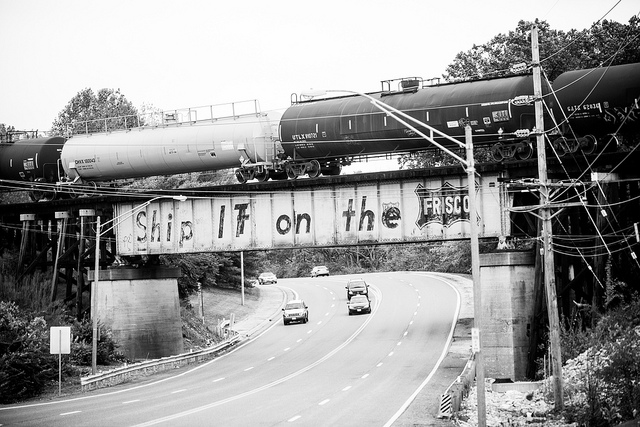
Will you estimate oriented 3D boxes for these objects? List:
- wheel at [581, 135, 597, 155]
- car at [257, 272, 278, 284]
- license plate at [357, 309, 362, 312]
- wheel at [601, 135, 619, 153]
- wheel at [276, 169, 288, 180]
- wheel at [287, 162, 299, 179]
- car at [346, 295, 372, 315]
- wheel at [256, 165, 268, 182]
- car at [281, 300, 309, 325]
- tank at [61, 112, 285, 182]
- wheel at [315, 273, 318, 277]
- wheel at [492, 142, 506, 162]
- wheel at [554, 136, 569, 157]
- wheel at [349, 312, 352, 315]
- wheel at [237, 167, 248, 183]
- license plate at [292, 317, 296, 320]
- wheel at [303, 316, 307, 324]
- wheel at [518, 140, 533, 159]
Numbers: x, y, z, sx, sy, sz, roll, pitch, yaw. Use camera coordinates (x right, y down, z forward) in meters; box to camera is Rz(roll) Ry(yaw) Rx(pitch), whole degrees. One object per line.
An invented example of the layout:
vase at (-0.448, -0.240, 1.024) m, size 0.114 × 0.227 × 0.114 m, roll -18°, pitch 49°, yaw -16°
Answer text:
wheel at (14.251, -3.635, 38.321) m, size 0.822 × 1.085 × 0.325 m, roll -3°, pitch -5°, yaw -11°
car at (-7.056, 8.428, 94.598) m, size 1.141 × 1.044 × 2.678 m, roll -1°, pitch 3°, yaw -18°
license plate at (3.306, 8.148, 61.321) m, size 0.233 × 0.180 × 0.139 m, roll 1°, pitch 6°, yaw 11°
wheel at (15.702, -3.760, 39.276) m, size 0.897 × 0.805 × 1.449 m, roll -7°, pitch -6°, yaw 23°
wheel at (-2.428, -2.524, 47.118) m, size 0.532 × 0.599 × 0.584 m, roll -1°, pitch 8°, yaw 0°
wheel at (-1.772, -2.736, 46.347) m, size 0.771 × 0.879 × 0.251 m, roll -8°, pitch 10°, yaw 21°
car at (3.411, 7.792, 62.177) m, size 1.820 × 1.515 × 2.001 m, roll -5°, pitch -6°, yaw 9°
wheel at (-3.629, -2.537, 47.115) m, size 0.789 × 0.878 × 0.781 m, roll -1°, pitch 0°, yaw 0°
car at (-2.059, 8.370, 61.238) m, size 1.971 × 1.877 × 2.308 m, roll -4°, pitch -6°, yaw -7°
tank at (-11.043, -4.231, 51.199) m, size 15.320 × 4.994 × 3.223 m, roll -5°, pitch 10°, yaw 7°
wheel at (-0.467, 8.433, 98.683) m, size 0.311 × 0.360 × 0.519 m, roll -3°, pitch -6°, yaw -13°
wheel at (9.943, -3.411, 40.322) m, size 0.685 × 1.107 × 0.416 m, roll -5°, pitch -5°, yaw 10°
wheel at (12.821, -3.516, 38.518) m, size 0.708 × 1.143 × 0.444 m, roll -5°, pitch -5°, yaw 10°
wheel at (2.627, 8.518, 61.815) m, size 0.226 × 0.248 × 0.134 m, roll -2°, pitch 2°, yaw -27°
wheel at (-5.176, -2.502, 47.428) m, size 0.759 × 0.881 × 0.816 m, roll 0°, pitch 3°, yaw 0°
license plate at (-2.149, 8.727, 60.452) m, size 0.304 × 0.170 × 0.207 m, roll -5°, pitch -6°, yaw 6°
wheel at (-1.261, 8.887, 60.715) m, size 0.308 × 0.600 × 0.895 m, roll -4°, pitch -6°, yaw 3°
wheel at (11.268, -3.420, 39.488) m, size 0.715 × 0.906 × 0.296 m, roll -5°, pitch 2°, yaw 40°
